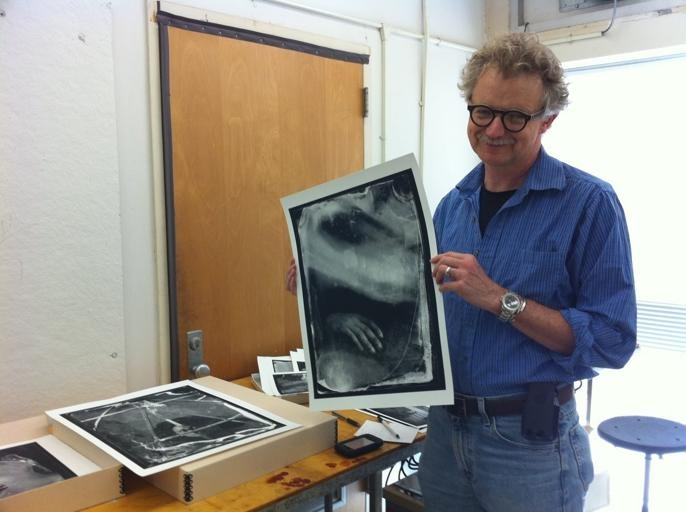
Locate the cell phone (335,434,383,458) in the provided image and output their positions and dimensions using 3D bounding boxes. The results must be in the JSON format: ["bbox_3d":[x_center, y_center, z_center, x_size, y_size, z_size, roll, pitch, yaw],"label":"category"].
[{"bbox_3d":[0.055,0.599,1.887,0.109,0.027,0.061,-2,2,-42],"label":"cell phone"}]

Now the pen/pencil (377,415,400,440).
[{"bbox_3d":[0.158,0.584,2.007,0.026,0.022,0.128,3,8,-15],"label":"pen/pencil"}]

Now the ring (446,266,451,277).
[{"bbox_3d":[0.305,0.042,1.723,0.018,0.021,0.021,-1,-4,9],"label":"ring"}]

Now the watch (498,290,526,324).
[{"bbox_3d":[0.486,0.148,1.708,0.058,0.086,0.085,27,-11,26],"label":"watch"}]
